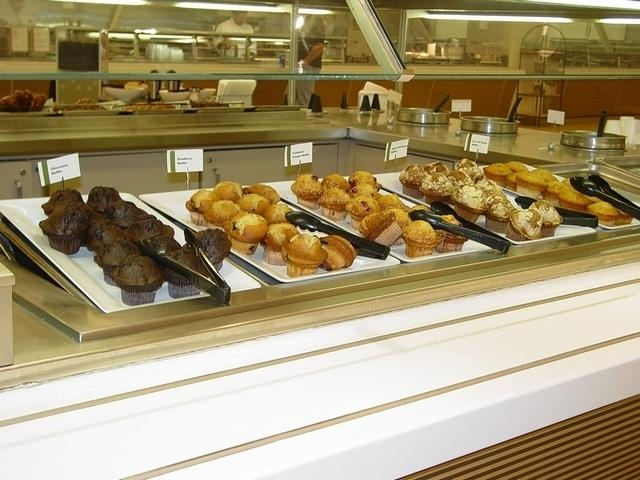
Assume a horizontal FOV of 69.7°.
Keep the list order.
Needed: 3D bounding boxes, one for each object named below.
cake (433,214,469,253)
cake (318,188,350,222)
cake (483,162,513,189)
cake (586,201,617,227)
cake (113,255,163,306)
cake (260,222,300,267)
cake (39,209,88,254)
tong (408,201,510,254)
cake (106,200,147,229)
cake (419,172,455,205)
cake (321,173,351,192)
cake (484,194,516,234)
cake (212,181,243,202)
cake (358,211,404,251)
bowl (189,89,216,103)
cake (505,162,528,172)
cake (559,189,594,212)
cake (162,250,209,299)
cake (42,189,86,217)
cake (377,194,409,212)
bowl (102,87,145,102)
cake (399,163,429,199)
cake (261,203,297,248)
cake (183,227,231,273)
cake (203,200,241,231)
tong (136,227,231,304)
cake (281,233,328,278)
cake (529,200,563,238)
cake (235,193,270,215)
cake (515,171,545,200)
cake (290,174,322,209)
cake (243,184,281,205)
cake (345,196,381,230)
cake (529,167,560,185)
[{"bbox_3d":[0.321,-0.018,1.143,0.105,0.069,0.101,-2,18,-13],"label":"cake"},{"bbox_3d":[0.042,-0.107,1.355,0.121,0.075,0.099,1,20,0],"label":"cake"},{"bbox_3d":[0.681,-0.252,1.751,0.138,0.059,0.116,10,21,11],"label":"cake"},{"bbox_3d":[0.838,-0.077,1.365,0.095,0.044,0.082,6,10,11],"label":"cake"},{"bbox_3d":[-0.305,0.070,0.823,0.104,0.073,0.083,3,29,-5],"label":"cake"},{"bbox_3d":[-0.093,0.011,0.995,0.102,0.070,0.098,3,12,2],"label":"cake"},{"bbox_3d":[-0.519,-0.018,0.942,0.122,0.078,0.102,-3,23,-16],"label":"cake"},{"bbox_3d":[0.339,-0.028,1.128,0.208,0.030,0.116,21,18,20],"label":"tong"},{"bbox_3d":[-0.436,-0.057,1.029,0.095,0.028,0.076,8,30,-11],"label":"cake"},{"bbox_3d":[0.375,-0.163,1.497,0.122,0.083,0.097,2,50,6],"label":"cake"},{"bbox_3d":[0.057,-0.181,1.432,0.072,0.041,0.074,4,19,-7],"label":"cake"},{"bbox_3d":[0.507,-0.075,1.346,0.123,0.082,0.108,-2,22,-1],"label":"cake"},{"bbox_3d":[-0.247,-0.120,1.247,0.075,0.027,0.060,11,36,8],"label":"cake"},{"bbox_3d":[0.161,-0.022,1.156,0.093,0.100,0.037,52,0,23],"label":"cake"},{"bbox_3d":[-0.822,-1.012,3.222,0.199,0.055,0.164,-1,17,0],"label":"bowl"},{"bbox_3d":[0.761,-0.280,1.769,0.072,0.019,0.063,1,19,-13],"label":"cake"},{"bbox_3d":[0.823,-0.126,1.475,0.082,0.031,0.076,13,17,29],"label":"cake"},{"bbox_3d":[-0.243,0.058,0.817,0.087,0.071,0.096,-6,14,-25],"label":"cake"},{"bbox_3d":[-0.597,-0.093,1.063,0.096,0.027,0.097,22,37,40],"label":"cake"},{"bbox_3d":[0.200,-0.101,1.246,0.069,0.021,0.068,5,7,0],"label":"cake"},{"bbox_3d":[-1.235,-0.919,2.961,0.217,0.051,0.185,3,8,11],"label":"bowl"},{"bbox_3d":[0.333,-0.209,1.626,0.129,0.104,0.119,-10,26,-23],"label":"cake"},{"bbox_3d":[-0.095,-0.037,1.055,0.094,0.032,0.103,7,36,-7],"label":"cake"},{"bbox_3d":[-0.239,0.015,0.910,0.076,0.079,0.083,11,31,29],"label":"cake"},{"bbox_3d":[-0.239,-0.069,1.140,0.091,0.054,0.083,-13,28,-31],"label":"cake"},{"bbox_3d":[-0.247,0.039,0.836,0.102,0.049,0.211,-24,43,-34],"label":"tong"},{"bbox_3d":[-0.033,0.031,0.975,0.113,0.083,0.095,-4,24,-16],"label":"cake"},{"bbox_3d":[0.617,-0.059,1.307,0.103,0.083,0.105,-1,29,2],"label":"cake"},{"bbox_3d":[-0.165,-0.091,1.162,0.074,0.032,0.060,5,27,-2],"label":"cake"},{"bbox_3d":[0.764,-0.196,1.667,0.112,0.061,0.109,19,23,31],"label":"cake"},{"bbox_3d":[-0.033,-0.149,1.408,0.126,0.085,0.104,-1,20,-1],"label":"cake"},{"bbox_3d":[-0.156,-0.126,1.285,0.094,0.037,0.060,4,6,-22],"label":"cake"},{"bbox_3d":[0.107,-0.076,1.277,0.113,0.076,0.091,-1,26,-5],"label":"cake"},{"bbox_3d":[0.816,-0.230,1.652,0.106,0.028,0.109,-2,23,-20],"label":"cake"}]
